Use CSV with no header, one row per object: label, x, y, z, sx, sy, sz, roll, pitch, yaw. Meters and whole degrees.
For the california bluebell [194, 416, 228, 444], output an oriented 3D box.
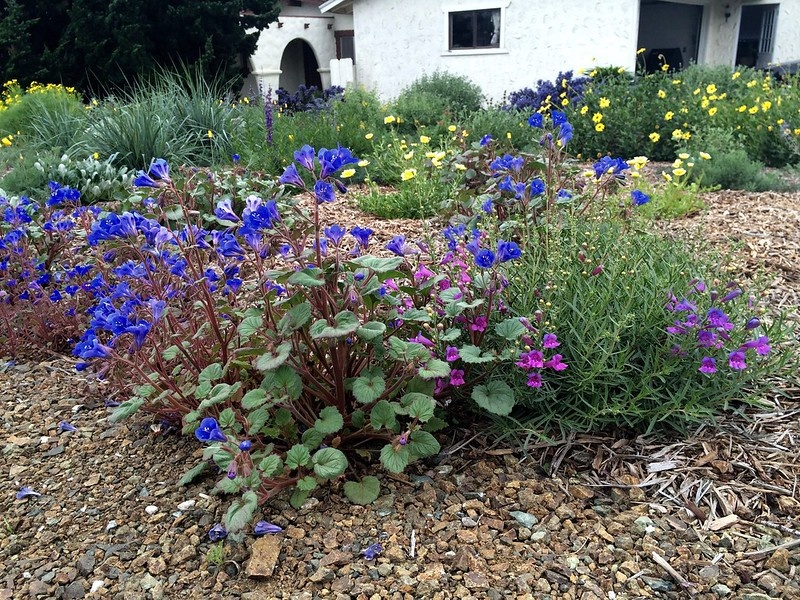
california bluebell,-0.788,0.543,2.391,0.107,0.119,0.106,-19,26,-38
